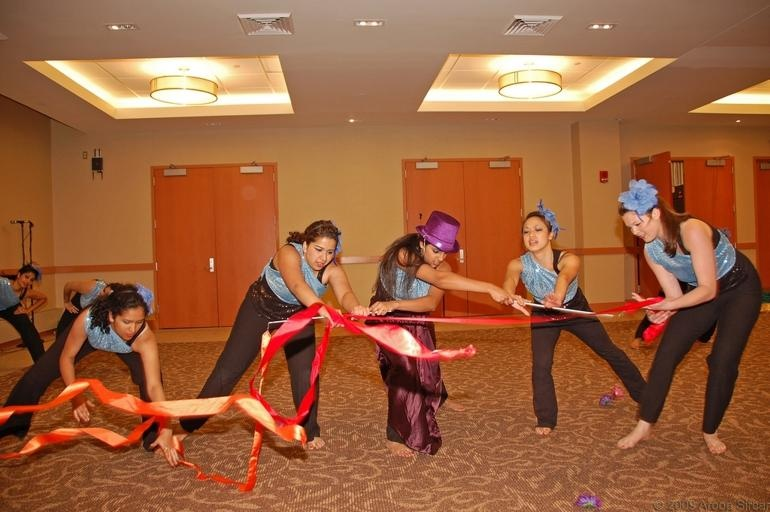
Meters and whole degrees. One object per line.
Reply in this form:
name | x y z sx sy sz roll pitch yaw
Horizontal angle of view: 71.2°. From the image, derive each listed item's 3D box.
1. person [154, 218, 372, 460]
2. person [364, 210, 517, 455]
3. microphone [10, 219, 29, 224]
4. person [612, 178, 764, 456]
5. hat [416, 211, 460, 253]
person | -0.854 0.719 4.752 1.447 2.032 0.515 -1 11 5
person | 0.378 0.666 4.765 1.018 2.080 0.604 -2 11 -2
microphone | -6.034 -0.569 8.877 0.171 0.089 0.245 -1 11 6
person | 2.597 0.508 4.592 1.194 2.303 0.483 0 11 9
hat | 0.480 -0.211 4.725 0.374 0.197 0.331 34 20 23
